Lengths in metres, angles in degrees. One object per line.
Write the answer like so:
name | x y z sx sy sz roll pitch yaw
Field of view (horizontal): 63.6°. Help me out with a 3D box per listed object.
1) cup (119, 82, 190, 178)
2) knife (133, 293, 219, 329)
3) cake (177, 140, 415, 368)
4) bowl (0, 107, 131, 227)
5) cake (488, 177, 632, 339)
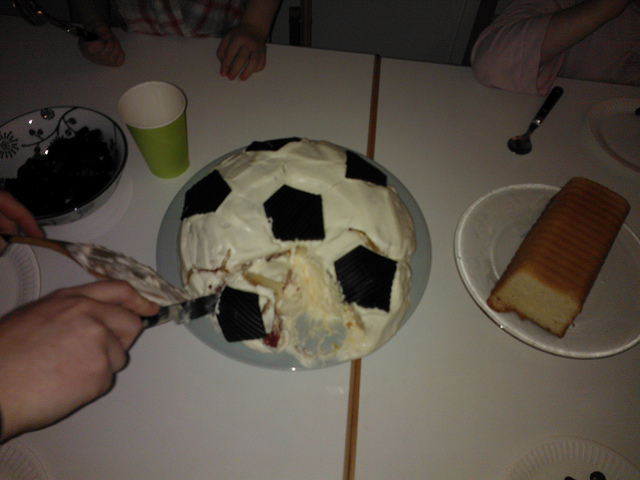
cup | -0.512 -0.383 1.834 0.233 0.285 0.272 6 55 2
knife | -0.435 0.214 1.569 0.224 0.082 0.019 -13 53 -23
cake | -0.082 0.021 1.666 0.749 0.364 0.586 13 50 4
bowl | -0.890 -0.246 1.865 0.385 0.167 0.458 5 71 2
cake | 0.800 0.051 1.735 0.260 0.256 0.554 31 54 20
